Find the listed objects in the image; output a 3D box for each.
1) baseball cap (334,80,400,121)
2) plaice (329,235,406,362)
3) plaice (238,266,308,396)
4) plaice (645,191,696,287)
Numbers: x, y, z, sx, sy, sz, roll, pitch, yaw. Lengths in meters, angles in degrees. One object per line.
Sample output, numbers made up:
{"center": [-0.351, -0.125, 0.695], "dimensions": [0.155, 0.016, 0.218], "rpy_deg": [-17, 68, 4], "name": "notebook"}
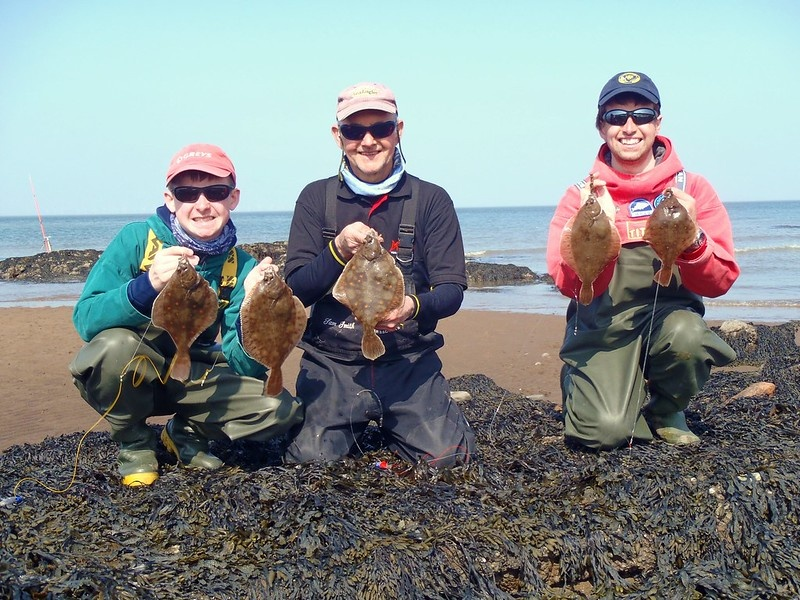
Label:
{"center": [-0.279, -1.659, 6.294], "dimensions": [0.524, 0.293, 0.669], "rpy_deg": [-7, 20, -19], "name": "baseball cap"}
{"center": [-0.227, -0.027, 5.692], "dimensions": [0.518, 0.904, 0.246], "rpy_deg": [-4, 9, -1], "name": "plaice"}
{"center": [-0.917, 0.245, 5.606], "dimensions": [0.487, 0.954, 0.280], "rpy_deg": [-6, 9, -13], "name": "plaice"}
{"center": [2.136, -0.548, 5.854], "dimensions": [0.377, 0.097, 0.838], "rpy_deg": [-20, -40, 24], "name": "plaice"}
